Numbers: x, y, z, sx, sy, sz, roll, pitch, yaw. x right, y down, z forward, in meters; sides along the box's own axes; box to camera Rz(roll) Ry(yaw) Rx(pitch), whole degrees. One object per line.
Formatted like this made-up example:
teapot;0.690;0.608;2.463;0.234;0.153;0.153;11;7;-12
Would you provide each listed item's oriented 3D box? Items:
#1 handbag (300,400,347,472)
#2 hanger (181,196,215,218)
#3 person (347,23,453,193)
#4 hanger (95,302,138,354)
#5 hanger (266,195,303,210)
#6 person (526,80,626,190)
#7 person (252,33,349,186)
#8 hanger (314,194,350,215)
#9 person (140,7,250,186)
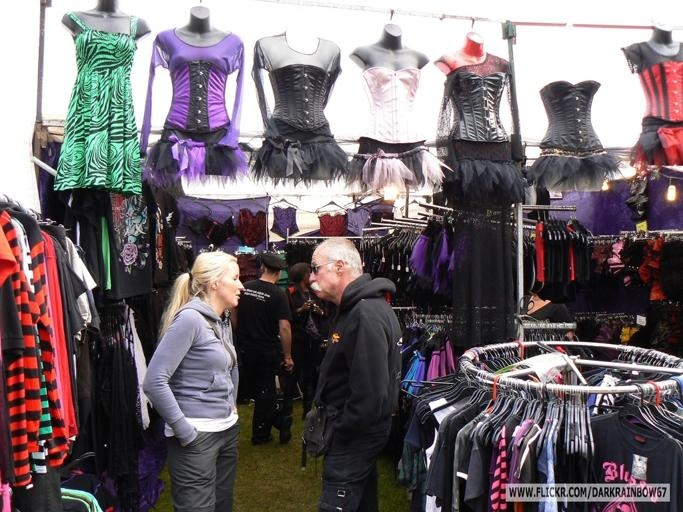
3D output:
handbag;-0.135;1.059;4.453;0.192;0.534;0.406;11;-15;-14
hanger;-1.893;-0.649;9.319;0.363;0.270;0.110;10;-42;-30
person;0.395;-1.077;5.187;0.646;1.231;0.446;-2;-2;-1
hanger;-1.563;0.491;5.038;0.151;0.358;0.550;-2;-2;-1
hanger;-0.775;-0.717;9.738;0.394;0.232;0.284;-1;5;-20
person;1.786;-1.010;5.482;0.748;0.884;0.550;5;37;27
person;-0.294;-1.033;4.986;0.647;1.063;0.451;-2;-2;-8
hanger;-0.134;-0.700;9.901;0.366;0.208;0.043;3;23;10
person;-0.983;-1.072;4.847;0.714;1.230;0.337;-2;-2;-17
